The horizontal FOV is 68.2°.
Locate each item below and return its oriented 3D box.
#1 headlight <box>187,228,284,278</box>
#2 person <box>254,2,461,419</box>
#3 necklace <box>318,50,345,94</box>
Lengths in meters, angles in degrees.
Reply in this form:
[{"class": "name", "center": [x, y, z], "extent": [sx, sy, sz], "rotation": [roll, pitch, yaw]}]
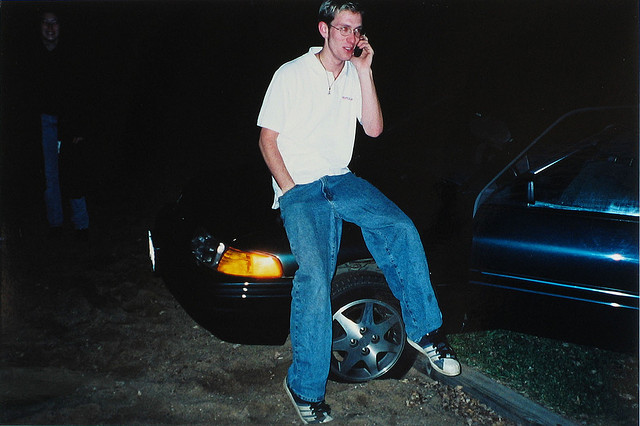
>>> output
[{"class": "headlight", "center": [-0.642, 0.338, 3.445], "extent": [0.490, 0.136, 0.356], "rotation": [18, -1, -12]}, {"class": "person", "center": [0.219, -0.046, 3.435], "extent": [1.315, 2.842, 0.840], "rotation": [0, 13, -12]}, {"class": "necklace", "center": [0.077, -1.040, 3.470], "extent": [0.174, 0.316, 0.022], "rotation": [3, 7, -4]}]
